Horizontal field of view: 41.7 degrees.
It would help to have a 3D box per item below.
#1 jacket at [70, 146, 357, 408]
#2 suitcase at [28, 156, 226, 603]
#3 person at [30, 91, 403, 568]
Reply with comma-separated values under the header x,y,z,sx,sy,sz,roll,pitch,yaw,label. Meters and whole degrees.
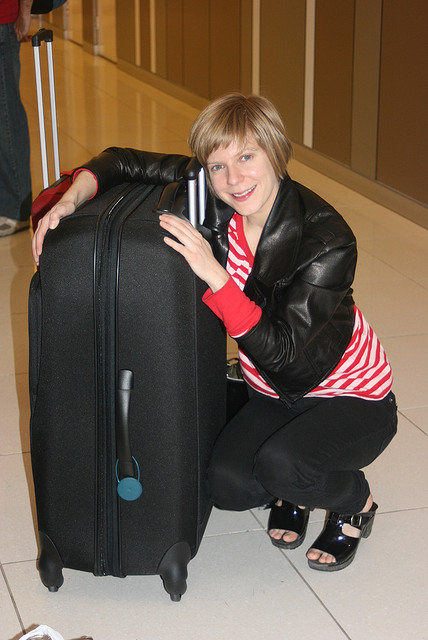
x,y,z,sx,sy,sz,roll,pitch,yaw,label
-0.028,-0.089,1.196,0.528,0.522,0.523,1,-4,-2,jacket
-0.141,0.120,1.129,0.336,0.674,0.489,7,17,13,suitcase
0.081,0.059,1.138,0.426,0.877,0.376,-1,20,34,person
